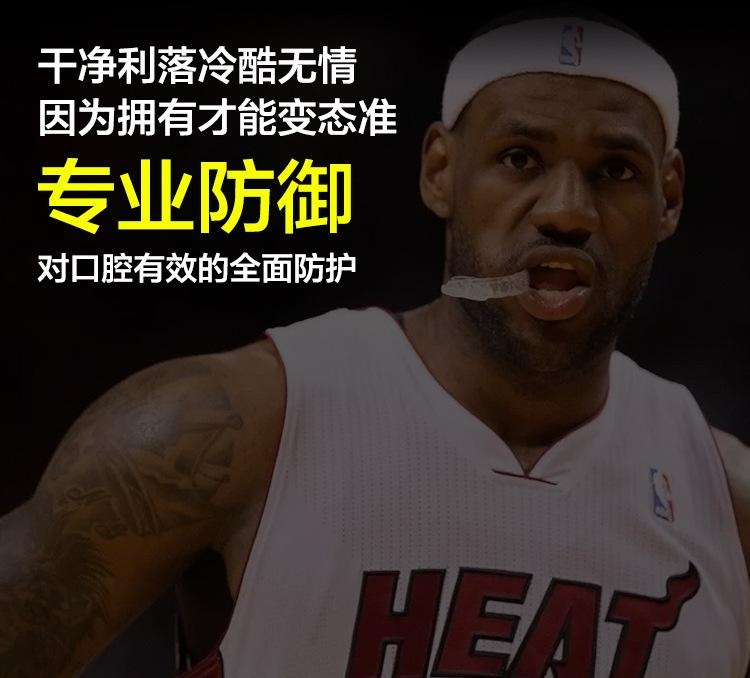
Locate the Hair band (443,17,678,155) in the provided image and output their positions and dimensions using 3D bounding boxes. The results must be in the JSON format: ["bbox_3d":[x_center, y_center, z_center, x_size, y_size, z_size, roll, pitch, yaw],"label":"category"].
[{"bbox_3d":[0.642,-0.713,3.442,0.506,0.231,0.608,7,-17,-5],"label":"Hair band"}]
